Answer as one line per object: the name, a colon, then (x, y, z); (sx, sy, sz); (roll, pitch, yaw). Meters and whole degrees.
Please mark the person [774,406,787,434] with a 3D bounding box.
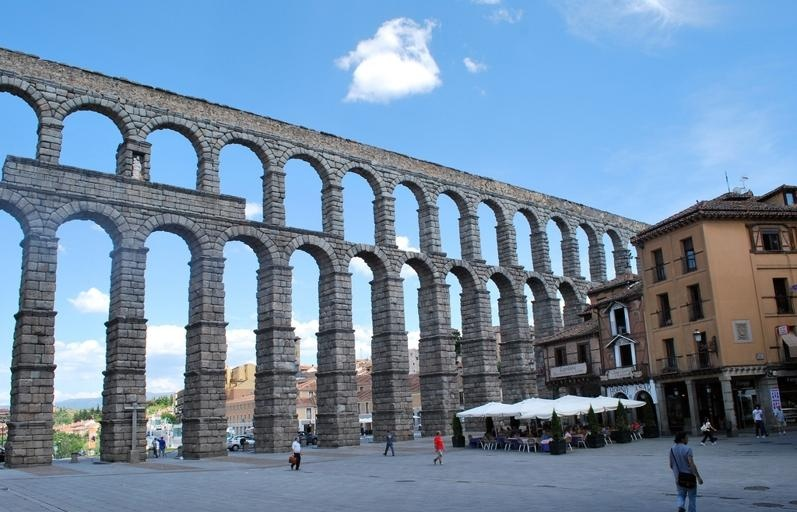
person: (22.372, 9.547, 41.937); (0.525, 1.699, 1.547); (-16, -23, 24)
